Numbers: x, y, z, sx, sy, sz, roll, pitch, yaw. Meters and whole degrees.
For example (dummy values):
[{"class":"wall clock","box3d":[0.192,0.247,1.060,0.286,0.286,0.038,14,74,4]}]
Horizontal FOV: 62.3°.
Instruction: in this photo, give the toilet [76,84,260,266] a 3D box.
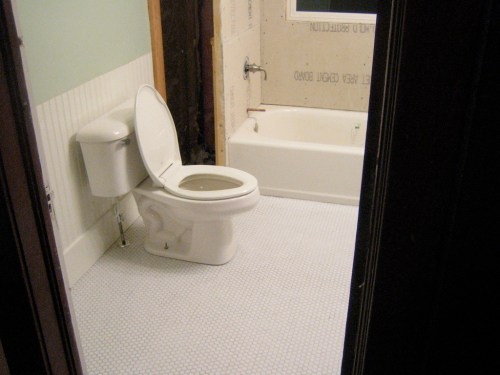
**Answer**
[{"class":"toilet","box3d":[-0.461,-0.223,2.551,1.078,1.170,0.674,4,31,6]}]
